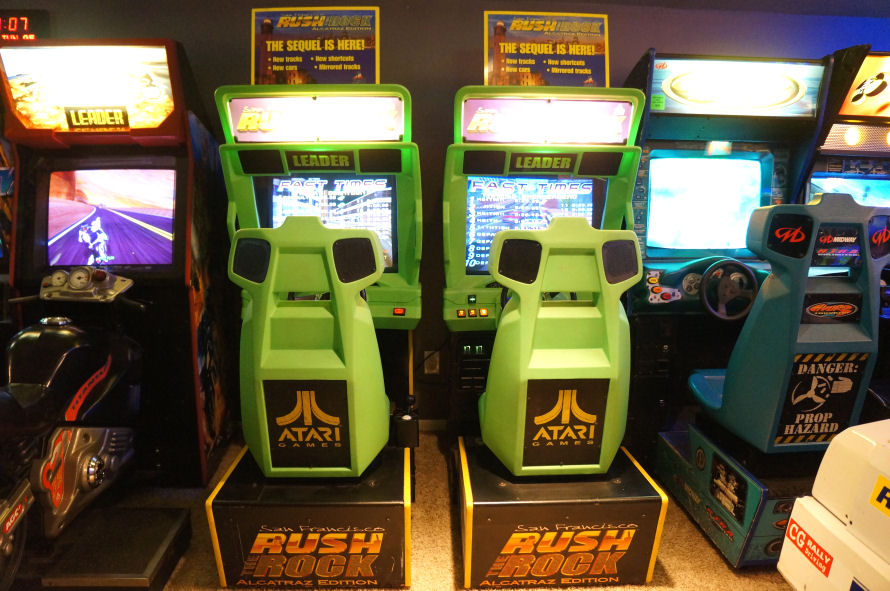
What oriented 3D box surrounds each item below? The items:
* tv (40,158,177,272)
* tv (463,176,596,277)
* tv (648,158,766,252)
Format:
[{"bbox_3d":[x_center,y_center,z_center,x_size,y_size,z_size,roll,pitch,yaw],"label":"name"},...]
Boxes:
[{"bbox_3d":[-2.255,-0.520,4.792,0.847,0.604,0.012,0,4,2],"label":"tv"},{"bbox_3d":[0.508,-0.441,4.676,0.793,0.517,0.105,0,0,-2],"label":"tv"},{"bbox_3d":[1.825,-0.617,5.068,0.791,0.632,0.390,1,1,-2],"label":"tv"}]
